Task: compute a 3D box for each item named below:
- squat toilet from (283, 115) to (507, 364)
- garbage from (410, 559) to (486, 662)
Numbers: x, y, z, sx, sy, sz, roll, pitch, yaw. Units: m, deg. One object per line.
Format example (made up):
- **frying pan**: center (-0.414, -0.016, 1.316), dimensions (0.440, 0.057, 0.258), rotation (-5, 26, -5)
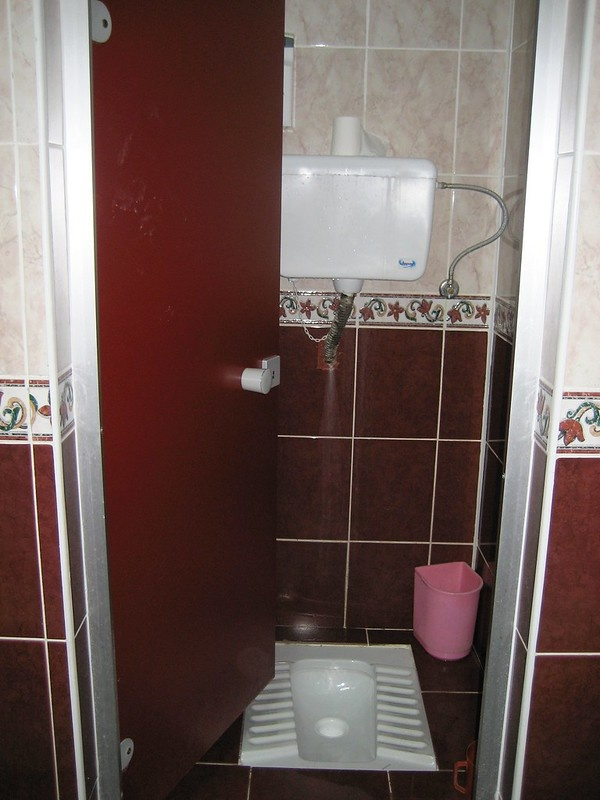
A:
- **squat toilet**: center (0.184, -0.456, 1.661), dimensions (0.497, 0.314, 0.683), rotation (3, -58, 0)
- **garbage**: center (0.395, 0.567, 1.928), dimensions (0.165, 0.310, 0.198), rotation (-1, -11, 2)
